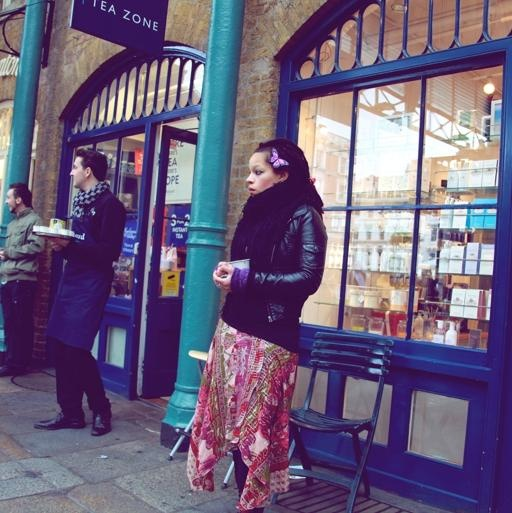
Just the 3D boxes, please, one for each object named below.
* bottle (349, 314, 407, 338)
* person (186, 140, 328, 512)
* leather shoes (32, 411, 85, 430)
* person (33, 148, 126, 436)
[{"bbox_3d":[0.810,0.421,3.132,0.146,0.184,0.264,1,-1,-43],"label":"bottle"},{"bbox_3d":[0.001,0.262,1.991,0.517,1.532,0.325,4,-4,4],"label":"person"},{"bbox_3d":[-1.477,1.227,3.641,0.345,0.139,0.127,6,-10,-15],"label":"leather shoes"},{"bbox_3d":[-1.258,0.247,3.607,0.521,2.118,0.511,5,-5,-19],"label":"person"}]
